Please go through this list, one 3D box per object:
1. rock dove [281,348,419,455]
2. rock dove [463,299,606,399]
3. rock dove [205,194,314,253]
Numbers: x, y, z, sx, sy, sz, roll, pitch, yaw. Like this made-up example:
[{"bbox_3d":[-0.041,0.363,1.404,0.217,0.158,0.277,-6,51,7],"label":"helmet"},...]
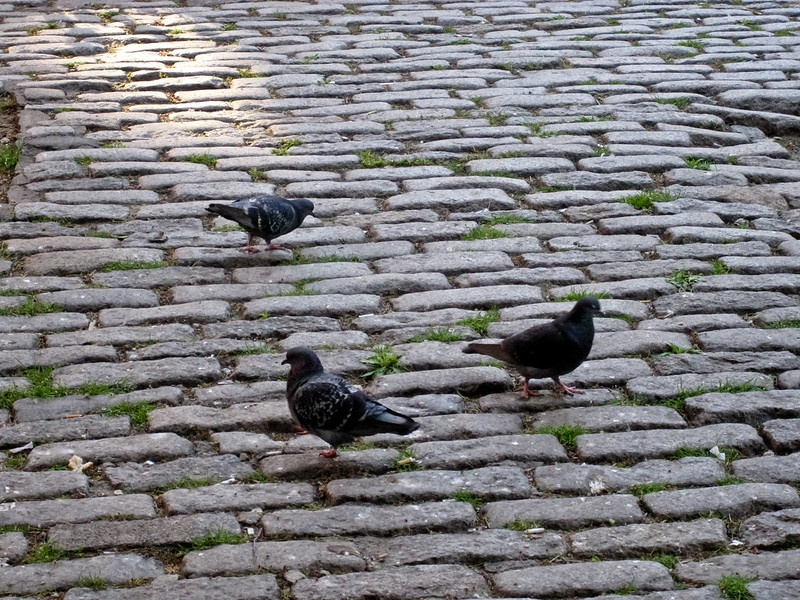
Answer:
[{"bbox_3d":[-0.306,0.532,5.765,0.388,0.445,0.727,-21,36,-27],"label":"rock dove"},{"bbox_3d":[0.772,0.252,6.272,0.929,0.413,0.397,-2,4,40],"label":"rock dove"},{"bbox_3d":[-0.879,-0.487,7.200,0.727,0.251,0.241,2,8,-29],"label":"rock dove"}]
